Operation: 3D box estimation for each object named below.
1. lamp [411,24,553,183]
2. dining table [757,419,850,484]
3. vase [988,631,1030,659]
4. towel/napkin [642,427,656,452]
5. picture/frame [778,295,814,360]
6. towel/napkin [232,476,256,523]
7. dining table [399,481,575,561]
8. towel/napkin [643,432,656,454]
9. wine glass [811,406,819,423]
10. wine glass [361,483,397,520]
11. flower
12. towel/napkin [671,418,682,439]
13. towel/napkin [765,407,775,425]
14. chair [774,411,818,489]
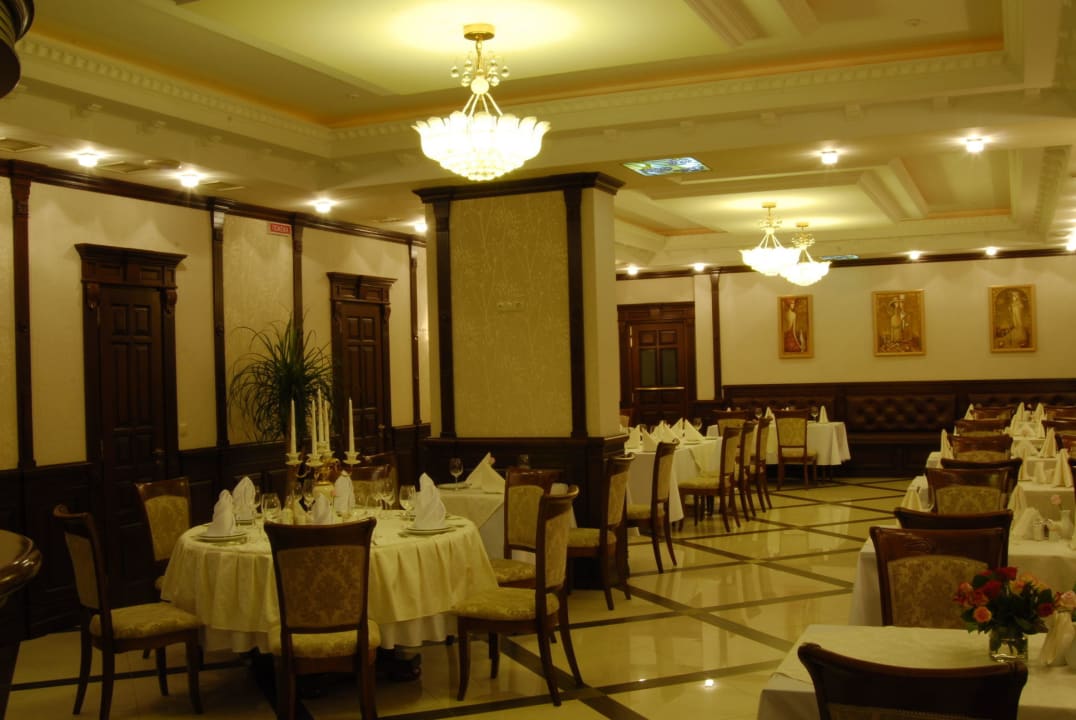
[{"bbox_3d":[-0.374,-1.980,6.257,1.154,1.256,1.158,-2,-11,9],"label":"lamp"},{"bbox_3d":[4.478,1.364,13.117,1.318,0.590,1.327,0,0,23],"label":"dining table"},{"bbox_3d":[1.835,1.113,3.021,0.135,0.099,0.136,0,-1,39],"label":"vase"},{"bbox_3d":[1.437,1.003,9.700,0.215,0.237,0.239,-3,-1,-5],"label":"towel/napkin"},{"bbox_3d":[5.205,-0.679,15.687,0.628,1.280,0.133,-2,1,8],"label":"picture/frame"},{"bbox_3d":[-2.160,1.025,5.737,0.213,0.366,0.178,3,22,-13],"label":"towel/napkin"},{"bbox_3d":[-0.372,1.246,5.925,0.826,0.595,0.823,0,-6,-3],"label":"dining table"},{"bbox_3d":[1.399,1.029,9.635,0.211,0.208,0.154,1,0,1],"label":"towel/napkin"},{"bbox_3d":[5.149,1.013,14.401,0.132,0.221,0.220,-1,-7,12],"label":"wine glass"},{"bbox_3d":[-1.169,1.044,5.733,0.286,0.269,0.450,0,-11,5],"label":"wine glass"},{"bbox_3d":[1.853,0.992,3.015,0.448,0.368,0.228,-2,1,0],"label":"flower"},{"bbox_3d":[1.953,0.981,11.055,0.211,0.246,0.414,0,-6,2],"label":"towel/napkin"},{"bbox_3d":[3.969,0.961,13.235,0.203,0.321,0.227,-1,-6,26],"label":"towel/napkin"},{"bbox_3d":[4.411,1.525,13.289,0.619,1.316,1.421,-2,1,19],"label":"chair"}]
